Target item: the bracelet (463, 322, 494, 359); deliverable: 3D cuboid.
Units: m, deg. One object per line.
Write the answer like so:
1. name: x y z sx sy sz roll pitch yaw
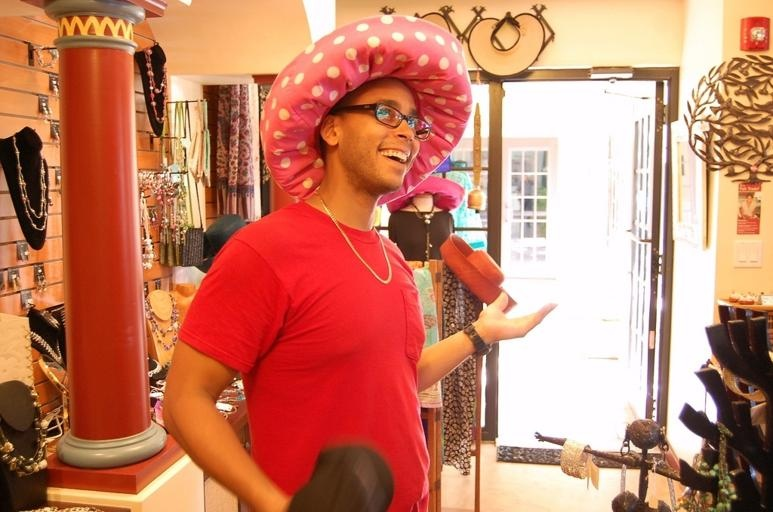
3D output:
1. bracelet: 0.355 0.311 2.216 0.077 0.119 0.120 -28 31 -22

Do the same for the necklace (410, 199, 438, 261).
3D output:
1. necklace: 0.282 -0.161 4.534 0.180 0.707 0.138 -5 19 -3

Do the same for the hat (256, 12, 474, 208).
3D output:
1. hat: -0.004 -0.487 1.950 0.672 0.631 0.206 7 34 -38

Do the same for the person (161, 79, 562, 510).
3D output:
1. person: -0.103 0.060 1.954 1.127 1.253 0.357 -2 5 -39

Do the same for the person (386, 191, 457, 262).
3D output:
1. person: 0.241 -0.199 4.140 0.434 0.882 0.308 0 3 3

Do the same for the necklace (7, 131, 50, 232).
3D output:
1. necklace: -1.814 -0.409 3.139 0.152 0.585 0.169 -6 18 -27

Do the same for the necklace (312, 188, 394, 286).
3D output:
1. necklace: -0.126 -0.034 1.949 0.024 0.316 0.213 -28 -6 27

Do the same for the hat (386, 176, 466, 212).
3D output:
1. hat: 0.273 -0.464 4.509 0.596 0.200 0.653 -2 -11 -7

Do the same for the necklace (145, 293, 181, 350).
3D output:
1. necklace: -1.410 0.434 3.835 0.251 0.384 0.138 -1 -7 -43
